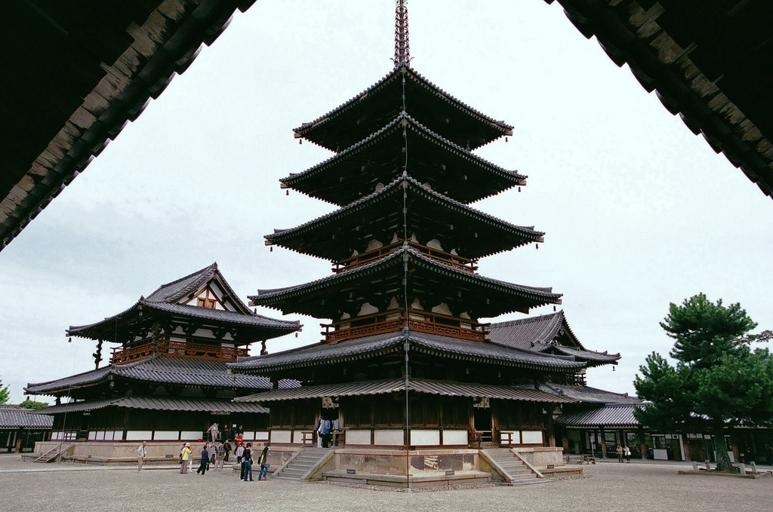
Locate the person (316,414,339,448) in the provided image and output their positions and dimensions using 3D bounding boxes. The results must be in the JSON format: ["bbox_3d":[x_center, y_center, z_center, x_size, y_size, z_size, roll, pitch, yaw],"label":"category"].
[{"bbox_3d":[-2.705,7.918,26.447,0.589,1.468,1.329,-10,-28,19],"label":"person"}]
